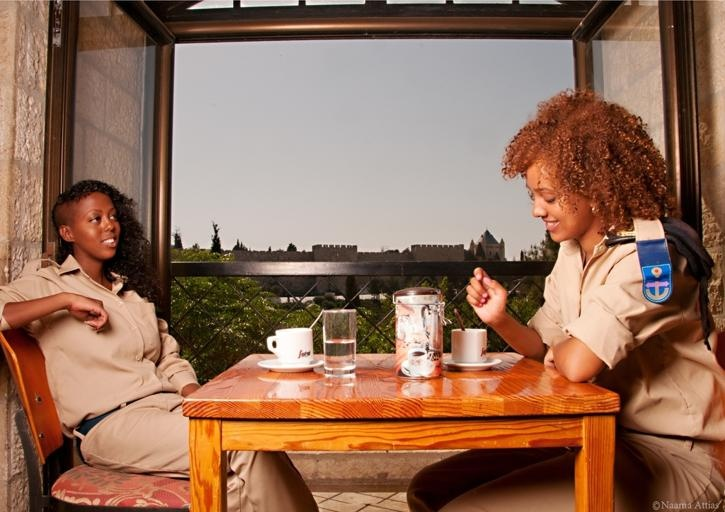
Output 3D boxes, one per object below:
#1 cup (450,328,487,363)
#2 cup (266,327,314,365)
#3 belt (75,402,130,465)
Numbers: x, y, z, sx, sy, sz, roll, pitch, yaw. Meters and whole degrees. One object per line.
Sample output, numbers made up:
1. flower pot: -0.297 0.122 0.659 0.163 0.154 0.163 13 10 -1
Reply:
1. cup: 0.328 0.274 2.026 0.103 0.080 0.102 -2 -3 0
2. cup: -0.227 0.278 2.045 0.132 0.090 0.097 -1 1 -4
3. belt: -0.943 0.600 2.308 0.176 0.068 0.179 -40 -3 -41
